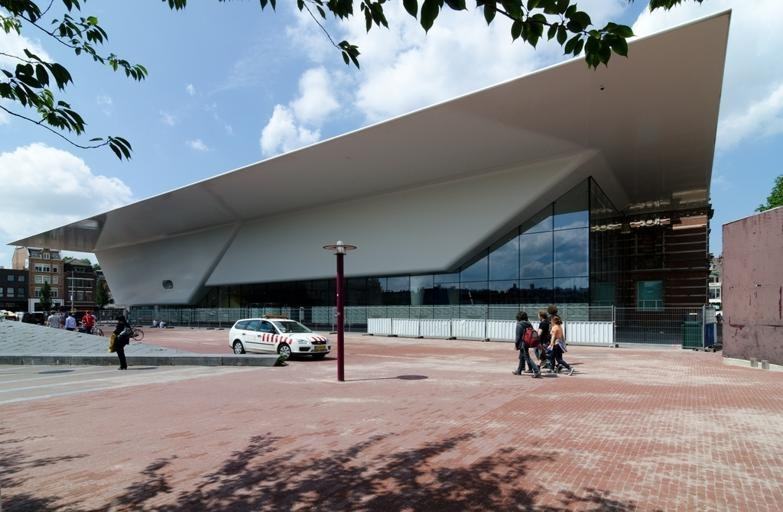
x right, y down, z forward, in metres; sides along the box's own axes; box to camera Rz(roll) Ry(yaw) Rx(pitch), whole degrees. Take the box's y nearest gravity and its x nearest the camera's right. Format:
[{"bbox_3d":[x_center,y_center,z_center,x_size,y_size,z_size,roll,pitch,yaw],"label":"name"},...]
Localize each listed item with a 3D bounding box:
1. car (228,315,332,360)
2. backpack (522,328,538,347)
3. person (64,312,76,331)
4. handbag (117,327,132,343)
[{"bbox_3d":[-4.276,3.257,18.611,3.625,1.277,1.728,-8,-12,34],"label":"car"},{"bbox_3d":[3.945,2.350,13.535,0.407,0.564,0.535,7,-9,-4],"label":"backpack"},{"bbox_3d":[-17.088,3.635,25.521,0.418,1.056,1.948,0,-1,-35],"label":"person"},{"bbox_3d":[-8.439,2.577,15.299,0.263,0.579,0.502,-1,-1,5],"label":"handbag"}]
